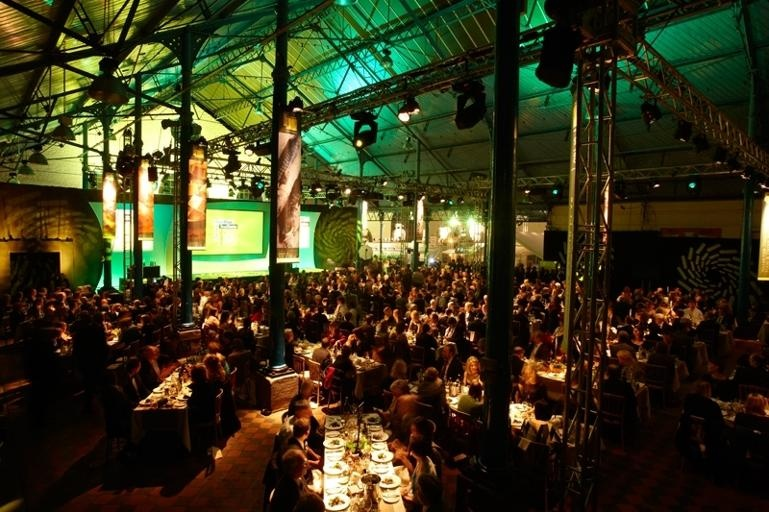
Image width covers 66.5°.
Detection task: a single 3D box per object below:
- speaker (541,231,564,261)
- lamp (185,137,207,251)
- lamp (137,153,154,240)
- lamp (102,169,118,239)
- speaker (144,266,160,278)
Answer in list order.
[{"bbox_3d":[7.791,-0.480,26.438,1.132,1.707,1.148,0,1,-9],"label":"speaker"},{"bbox_3d":[-5.625,-1.763,17.622,0.536,3.151,0.273,1,1,-26],"label":"lamp"},{"bbox_3d":[-7.715,-1.808,18.906,0.500,2.580,0.458,1,1,-35],"label":"lamp"},{"bbox_3d":[-10.097,-1.897,21.568,0.424,2.382,0.504,1,1,-30],"label":"lamp"},{"bbox_3d":[-9.744,0.689,24.633,0.377,0.518,0.712,-1,-1,18],"label":"speaker"}]
